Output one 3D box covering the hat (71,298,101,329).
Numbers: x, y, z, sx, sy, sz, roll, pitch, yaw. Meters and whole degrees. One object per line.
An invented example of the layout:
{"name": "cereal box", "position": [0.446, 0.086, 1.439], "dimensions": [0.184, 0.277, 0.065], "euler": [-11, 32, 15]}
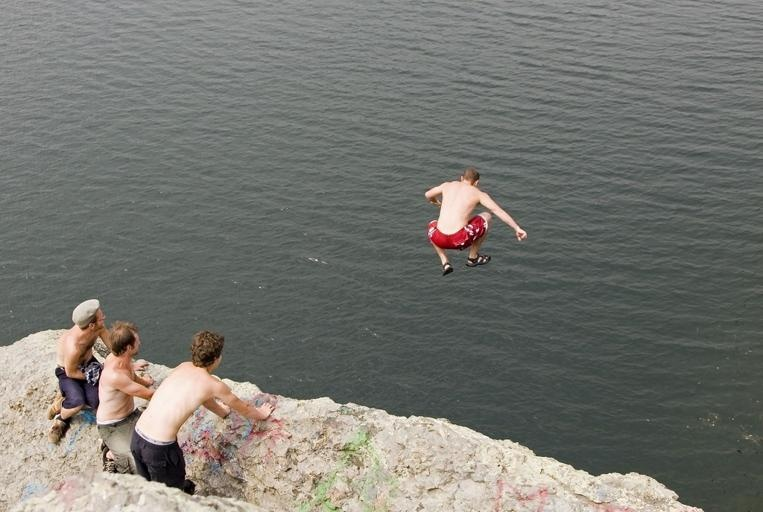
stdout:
{"name": "hat", "position": [-10.635, 2.131, 43.427], "dimensions": [1.033, 0.352, 1.003], "euler": [13, 66, 36]}
